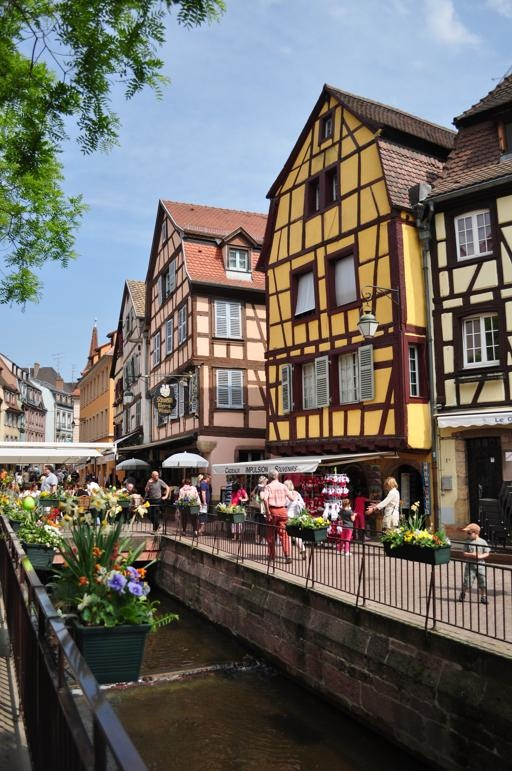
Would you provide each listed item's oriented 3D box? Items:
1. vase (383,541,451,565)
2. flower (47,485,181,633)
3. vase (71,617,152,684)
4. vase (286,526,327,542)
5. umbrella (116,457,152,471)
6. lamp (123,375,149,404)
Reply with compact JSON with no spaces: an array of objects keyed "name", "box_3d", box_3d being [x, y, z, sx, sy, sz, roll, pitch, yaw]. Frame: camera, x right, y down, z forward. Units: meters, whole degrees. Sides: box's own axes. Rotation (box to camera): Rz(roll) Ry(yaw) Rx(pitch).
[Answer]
[{"name":"vase","box_3d":[1.899,1.934,7.606,0.370,0.229,0.922,1,-9,-24]},{"name":"flower","box_3d":[-0.971,1.064,4.120,0.591,0.781,1.172,0,-9,-17]},{"name":"vase","box_3d":[-0.830,1.504,3.697,0.391,0.379,0.398,-10,-11,42]},{"name":"vase","box_3d":[0.806,2.317,10.267,0.270,0.265,0.888,3,-10,-33]},{"name":"umbrella","box_3d":[-5.406,3.430,28.425,0.962,0.348,0.964,-1,-5,9]},{"name":"lamp","box_3d":[-6.253,0.200,34.306,1.174,1.843,1.506,3,-5,-19]}]
